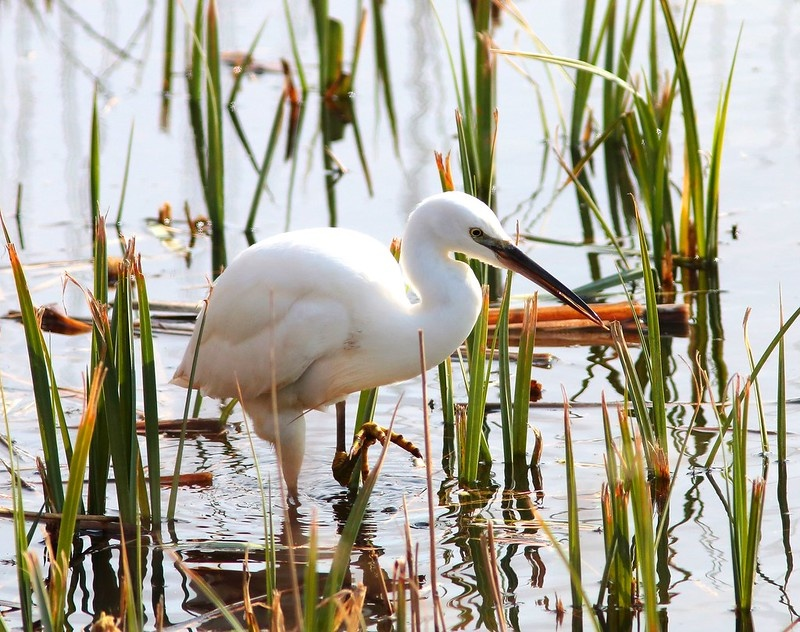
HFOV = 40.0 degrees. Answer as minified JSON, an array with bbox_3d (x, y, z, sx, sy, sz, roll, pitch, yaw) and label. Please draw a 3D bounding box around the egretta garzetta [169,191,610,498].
[{"bbox_3d":[-0.182,0.139,4.330,1.698,1.299,0.703,5,8,23],"label":"egretta garzetta"}]
